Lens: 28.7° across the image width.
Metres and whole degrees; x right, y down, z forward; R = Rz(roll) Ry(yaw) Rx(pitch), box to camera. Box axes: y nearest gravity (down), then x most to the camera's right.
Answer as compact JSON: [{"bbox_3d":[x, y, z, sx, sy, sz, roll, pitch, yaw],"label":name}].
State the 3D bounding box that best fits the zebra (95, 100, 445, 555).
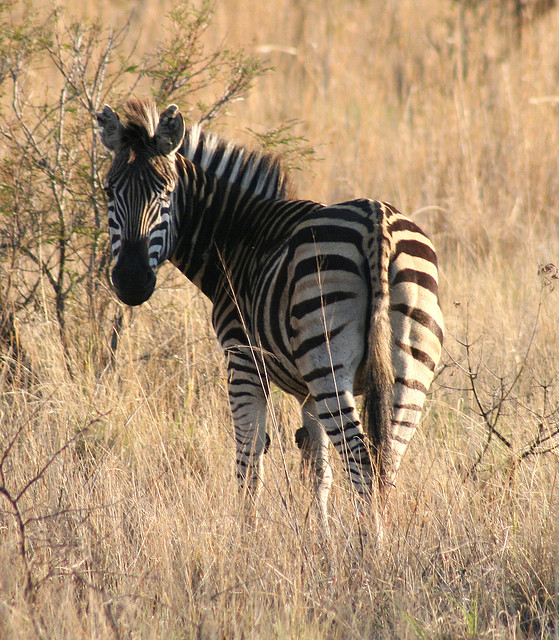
[{"bbox_3d":[-0.046,0.082,5.676,0.583,2.289,1.837,-9,11,-38],"label":"zebra"}]
